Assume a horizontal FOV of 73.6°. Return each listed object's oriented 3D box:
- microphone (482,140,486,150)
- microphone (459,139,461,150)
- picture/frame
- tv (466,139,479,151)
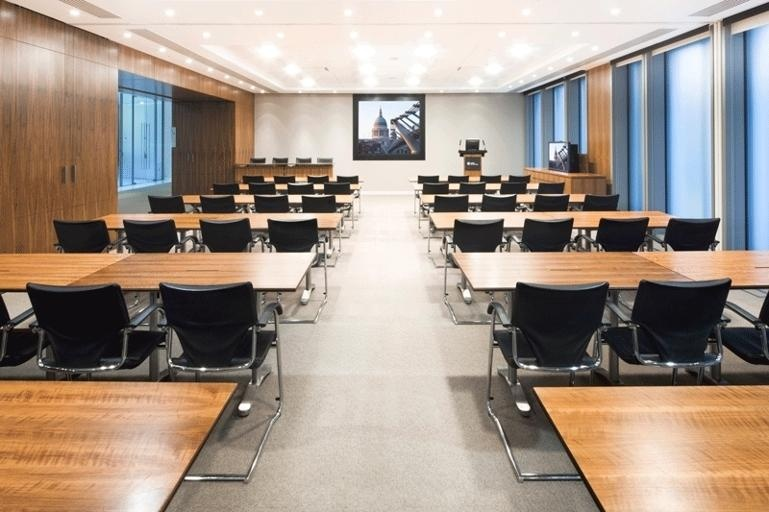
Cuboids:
[{"bbox_3d":[3.538,-3.991,18.429,0.090,0.271,0.287,-1,2,-31],"label":"microphone"},{"bbox_3d":[2.682,-3.998,18.257,0.159,0.343,0.300,1,12,8],"label":"microphone"},{"bbox_3d":[0.110,-4.688,18.130,2.432,1.892,0.236,-1,8,-6],"label":"picture/frame"},{"bbox_3d":[2.738,-3.467,15.978,0.329,0.335,1.099,2,12,13],"label":"tv"}]
